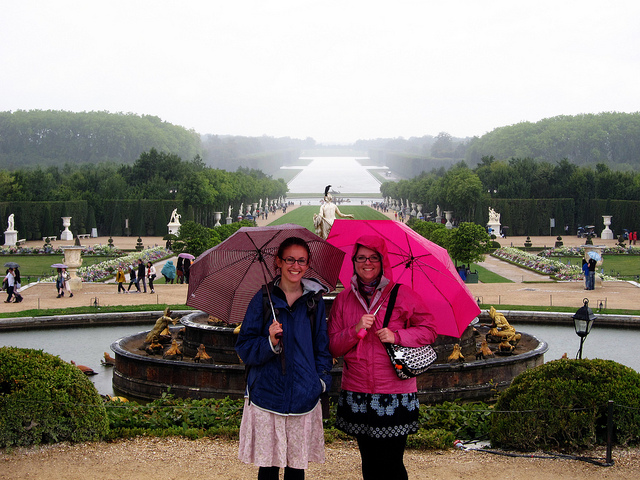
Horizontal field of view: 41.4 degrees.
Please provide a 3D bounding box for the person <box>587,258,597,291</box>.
[{"bbox_3d":[9.243,1.145,28.874,0.231,1.072,0.619,2,-2,17],"label":"person"}]

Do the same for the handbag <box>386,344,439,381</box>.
[{"bbox_3d":[0.908,1.224,8.370,0.526,0.353,0.134,3,-2,-20],"label":"handbag"}]

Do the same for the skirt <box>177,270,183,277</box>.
[{"bbox_3d":[-5.133,1.190,30.957,0.191,0.181,0.401,3,-1,-10],"label":"skirt"}]

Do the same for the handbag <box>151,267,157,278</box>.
[{"bbox_3d":[-5.449,1.088,27.844,0.169,0.234,0.224,1,-14,-25],"label":"handbag"}]

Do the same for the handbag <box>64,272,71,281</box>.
[{"bbox_3d":[-8.132,1.164,27.178,0.174,0.278,0.278,11,-10,-11],"label":"handbag"}]

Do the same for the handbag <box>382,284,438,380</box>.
[{"bbox_3d":[0.849,0.949,8.583,0.363,0.955,0.635,-24,-12,41],"label":"handbag"}]

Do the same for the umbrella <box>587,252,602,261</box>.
[{"bbox_3d":[9.180,0.524,28.356,0.349,0.250,0.516,2,-1,19],"label":"umbrella"}]

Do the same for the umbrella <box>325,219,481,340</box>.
[{"bbox_3d":[1.040,0.419,9.275,1.396,1.423,0.492,24,37,9],"label":"umbrella"}]

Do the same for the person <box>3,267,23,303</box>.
[{"bbox_3d":[-9.193,1.341,25.330,0.495,0.926,0.735,3,-2,-21],"label":"person"}]

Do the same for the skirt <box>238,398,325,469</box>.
[{"bbox_3d":[-0.375,1.940,8.544,0.885,0.937,0.612,1,-3,-6],"label":"skirt"}]
